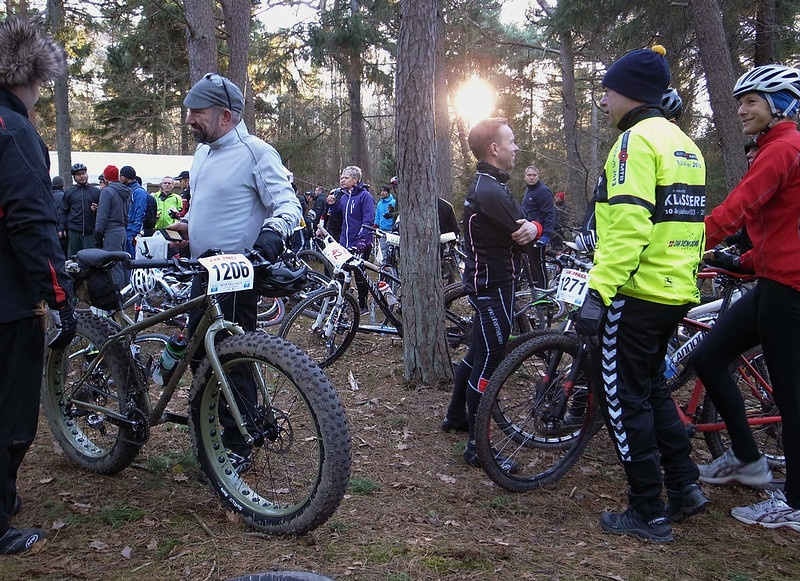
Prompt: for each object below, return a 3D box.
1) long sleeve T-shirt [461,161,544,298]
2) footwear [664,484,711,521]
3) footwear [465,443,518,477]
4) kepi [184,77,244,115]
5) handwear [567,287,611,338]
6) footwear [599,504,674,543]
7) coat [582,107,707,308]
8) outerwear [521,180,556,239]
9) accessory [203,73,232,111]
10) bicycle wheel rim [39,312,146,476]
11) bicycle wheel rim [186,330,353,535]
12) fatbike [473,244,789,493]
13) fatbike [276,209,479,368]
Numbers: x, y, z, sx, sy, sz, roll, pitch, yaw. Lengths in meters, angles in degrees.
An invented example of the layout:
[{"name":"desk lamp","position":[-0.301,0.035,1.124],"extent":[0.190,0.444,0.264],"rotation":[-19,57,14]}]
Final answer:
[{"name":"long sleeve T-shirt","position":[0.807,-0.521,5.753],"extent":[0.596,1.107,0.659],"rotation":[0,14,30]},{"name":"footwear","position":[1.980,1.531,4.963],"extent":[0.156,0.211,0.420],"rotation":[-18,-22,-21]},{"name":"footwear","position":[0.668,1.318,5.407],"extent":[0.488,0.230,0.178],"rotation":[-5,-5,35]},{"name":"kepi","position":[-1.349,-1.423,5.027],"extent":[0.359,0.198,0.243],"rotation":[1,19,-37]},{"name":"handwear","position":[1.316,0.157,4.702],"extent":[0.173,0.330,0.234],"rotation":[7,-8,32]},{"name":"footwear","position":[1.602,1.595,4.756],"extent":[0.465,0.226,0.198],"rotation":[5,-2,31]},{"name":"coat","position":[1.770,-0.607,4.903],"extent":[0.684,1.350,1.431],"rotation":[7,11,38]},{"name":"outerwear","position":[2.192,-1.406,11.436],"extent":[0.385,0.908,1.025],"rotation":[-6,14,-19]},{"name":"accessory","position":[-1.304,-1.437,4.952],"extent":[0.216,0.227,0.059],"rotation":[14,17,36]},{"name":"bicycle wheel rim","position":[-2.328,0.755,5.163],"extent":[1.203,1.253,0.299],"rotation":[24,21,30]},{"name":"bicycle wheel rim","position":[-0.911,0.996,4.600],"extent":[0.940,0.978,0.277],"rotation":[31,20,24]},{"name":"fatbike","position":[1.562,0.750,5.895],"extent":[2.733,1.781,1.404],"rotation":[4,3,0]},{"name":"fatbike","position":[-0.084,0.129,8.071],"extent":[2.683,1.617,1.195],"rotation":[-2,22,-15]}]
